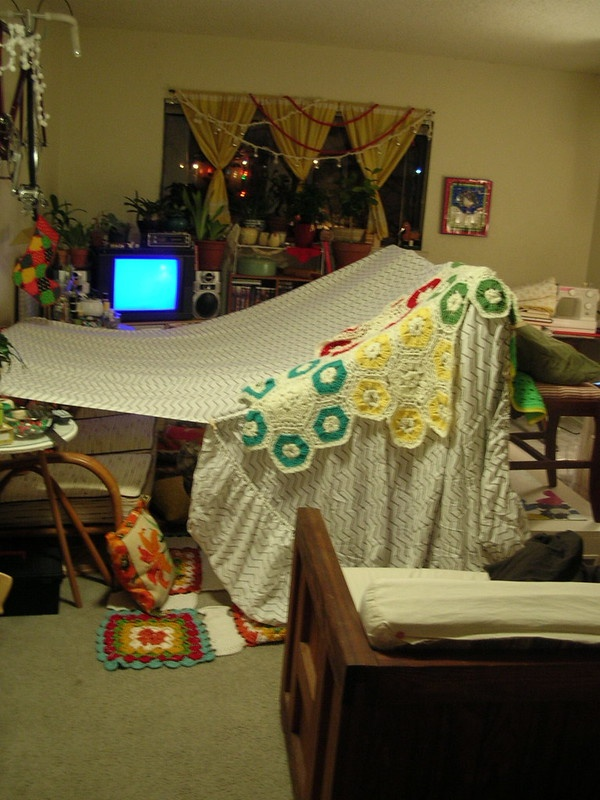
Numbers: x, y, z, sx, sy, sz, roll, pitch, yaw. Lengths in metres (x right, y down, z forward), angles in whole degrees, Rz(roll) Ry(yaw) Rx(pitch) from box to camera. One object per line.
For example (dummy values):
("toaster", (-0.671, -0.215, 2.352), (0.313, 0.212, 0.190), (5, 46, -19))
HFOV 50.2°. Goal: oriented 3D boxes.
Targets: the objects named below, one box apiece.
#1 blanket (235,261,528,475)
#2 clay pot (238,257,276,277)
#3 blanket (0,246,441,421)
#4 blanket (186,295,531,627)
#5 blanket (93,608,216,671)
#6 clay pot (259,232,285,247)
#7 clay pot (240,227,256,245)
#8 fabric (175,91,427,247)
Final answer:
("blanket", (0.244, -0.100, 2.069), (0.833, 0.688, 0.305), (7, 14, 6))
("clay pot", (-0.331, -0.992, 4.815), (0.207, 0.095, 0.189), (3, 14, -1))
("blanket", (-0.361, -0.253, 3.016), (1.653, 0.374, 1.044), (-9, 23, -23))
("blanket", (0.044, 0.148, 2.369), (1.389, 1.069, 0.904), (7, -10, -26))
("blanket", (-0.439, 0.727, 1.950), (0.337, 0.022, 0.297), (2, 12, -16))
("clay pot", (-0.222, -1.270, 5.111), (0.133, 0.086, 0.192), (0, 3, -3))
("clay pot", (-0.393, -1.268, 5.004), (0.141, 0.128, 0.064), (1, 15, -22))
("fabric", (-0.035, -1.924, 5.380), (2.235, 1.095, 0.157), (13, 29, 17))
